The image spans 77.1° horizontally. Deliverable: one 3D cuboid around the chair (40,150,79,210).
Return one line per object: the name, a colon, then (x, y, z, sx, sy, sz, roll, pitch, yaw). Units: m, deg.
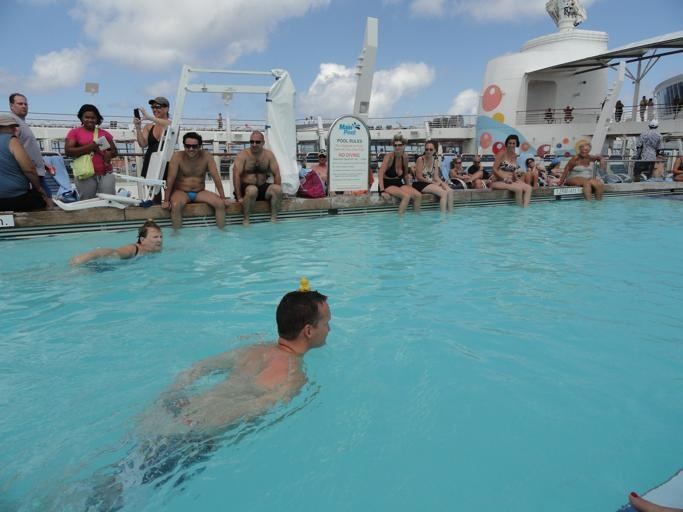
chair: (-5.094, -1.453, 7.978, 0.193, 0.868, 0.290, 6, 16, 30)

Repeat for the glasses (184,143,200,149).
glasses: (-2.583, -1.916, 7.447, 0.264, 0.082, 0.209, -4, 14, -19)

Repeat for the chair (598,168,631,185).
chair: (8.709, -2.568, 13.760, 1.003, 0.345, 0.716, -4, 17, -9)

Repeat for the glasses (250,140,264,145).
glasses: (-1.567, -2.115, 7.933, 0.212, 0.087, 0.179, -2, 13, -8)

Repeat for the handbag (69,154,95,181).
handbag: (-4.269, -1.492, 7.116, 0.326, 0.414, 0.229, -5, 13, -20)

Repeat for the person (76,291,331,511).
person: (-0.752, 0.658, 2.698, 0.570, 0.740, 1.643, 33, 28, 18)

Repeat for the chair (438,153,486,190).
chair: (3.727, -2.330, 12.182, 1.462, 0.864, 0.637, 7, 26, 15)
